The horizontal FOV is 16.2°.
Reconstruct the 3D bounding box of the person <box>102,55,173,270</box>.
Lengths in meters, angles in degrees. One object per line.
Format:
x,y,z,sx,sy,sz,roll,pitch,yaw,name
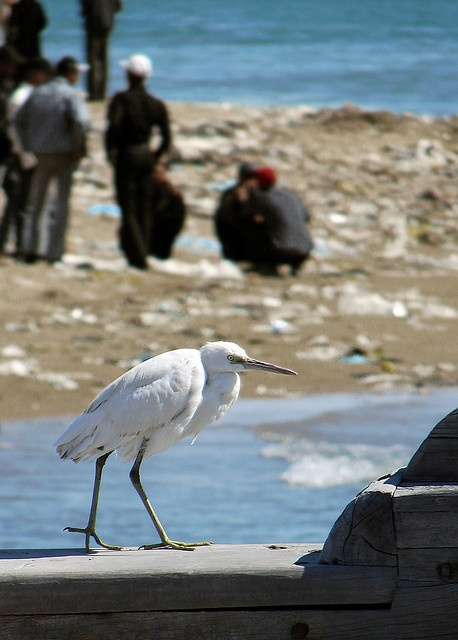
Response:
-0.667,-1.116,11.363,0.440,1.674,1.239,8,20,-4,person

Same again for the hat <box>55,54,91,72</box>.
-1.120,-1.776,11.323,0.219,0.110,0.120,-30,31,-33,hat

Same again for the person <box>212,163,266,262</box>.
0.057,-0.781,12.323,0.275,0.804,0.317,-5,27,-18,person

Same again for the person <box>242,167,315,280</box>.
0.380,-0.695,12.247,0.589,0.766,0.450,-6,29,16,person

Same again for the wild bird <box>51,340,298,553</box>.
-0.332,0.573,7.597,0.923,0.911,0.408,2,21,-17,wild bird

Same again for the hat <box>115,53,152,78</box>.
-0.623,-1.674,10.616,0.203,0.136,0.242,5,19,-10,hat
